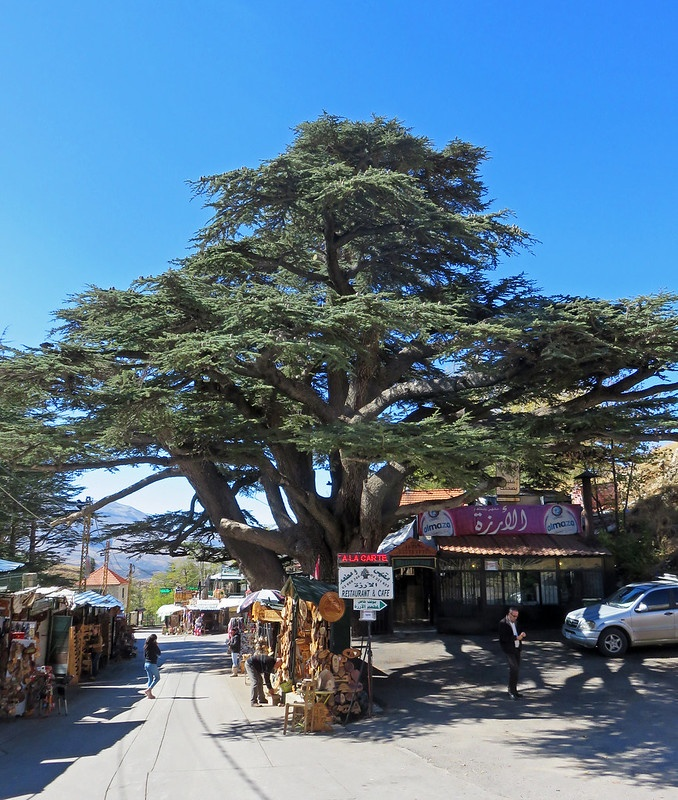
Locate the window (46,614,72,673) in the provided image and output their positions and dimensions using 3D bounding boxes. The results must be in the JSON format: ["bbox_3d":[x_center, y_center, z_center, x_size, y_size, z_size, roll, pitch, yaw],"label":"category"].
[{"bbox_3d":[-7.491,6.634,17.243,0.482,1.576,0.607,-32,-39,28],"label":"window"}]

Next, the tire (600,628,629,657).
[{"bbox_3d":[6.594,5.836,15.543,0.916,0.766,0.304,0,0,5],"label":"tire"}]

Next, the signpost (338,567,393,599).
[{"bbox_3d":[0.458,3.133,10.996,0.698,0.347,0.068,-1,-22,6],"label":"signpost"}]

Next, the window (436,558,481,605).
[{"bbox_3d":[4.088,6.153,21.837,2.038,1.954,0.105,0,-3,26],"label":"window"}]

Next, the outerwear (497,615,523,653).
[{"bbox_3d":[3.035,4.235,11.610,0.350,0.584,0.493,-6,-14,11],"label":"outerwear"}]

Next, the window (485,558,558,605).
[{"bbox_3d":[6.019,6.188,21.803,1.997,1.033,0.074,0,-4,-6],"label":"window"}]

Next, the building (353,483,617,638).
[{"bbox_3d":[6.021,5.569,23.637,7.038,3.249,5.977,-8,-6,19],"label":"building"}]

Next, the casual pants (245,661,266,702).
[{"bbox_3d":[-1.718,5.839,13.386,0.384,0.946,0.652,-2,-14,-7],"label":"casual pants"}]

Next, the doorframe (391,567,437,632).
[{"bbox_3d":[3.239,8.729,30.356,1.760,2.490,2.098,1,-6,7],"label":"doorframe"}]
